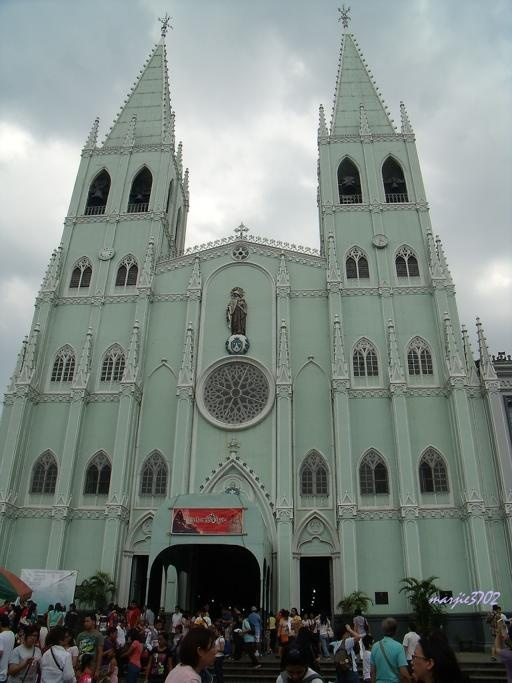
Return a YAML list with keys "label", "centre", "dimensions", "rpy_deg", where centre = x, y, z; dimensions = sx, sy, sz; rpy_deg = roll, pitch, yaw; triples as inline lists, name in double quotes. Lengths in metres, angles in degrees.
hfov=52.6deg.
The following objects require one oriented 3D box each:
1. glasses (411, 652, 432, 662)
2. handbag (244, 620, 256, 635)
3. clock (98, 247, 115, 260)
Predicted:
- label: "glasses"
  centre: [0.896, 1.704, 2.807]
  dimensions: [0.072, 0.021, 0.069]
  rpy_deg: [5, -17, 12]
- label: "handbag"
  centre: [-0.258, 9.991, 18.127]
  dimensions: [0.296, 0.524, 0.519]
  rpy_deg: [-4, -28, -6]
- label: "clock"
  centre: [-10.183, -5.908, 35.090]
  dimensions: [1.160, 1.114, 0.182]
  rpy_deg: [-1, -39, 10]
